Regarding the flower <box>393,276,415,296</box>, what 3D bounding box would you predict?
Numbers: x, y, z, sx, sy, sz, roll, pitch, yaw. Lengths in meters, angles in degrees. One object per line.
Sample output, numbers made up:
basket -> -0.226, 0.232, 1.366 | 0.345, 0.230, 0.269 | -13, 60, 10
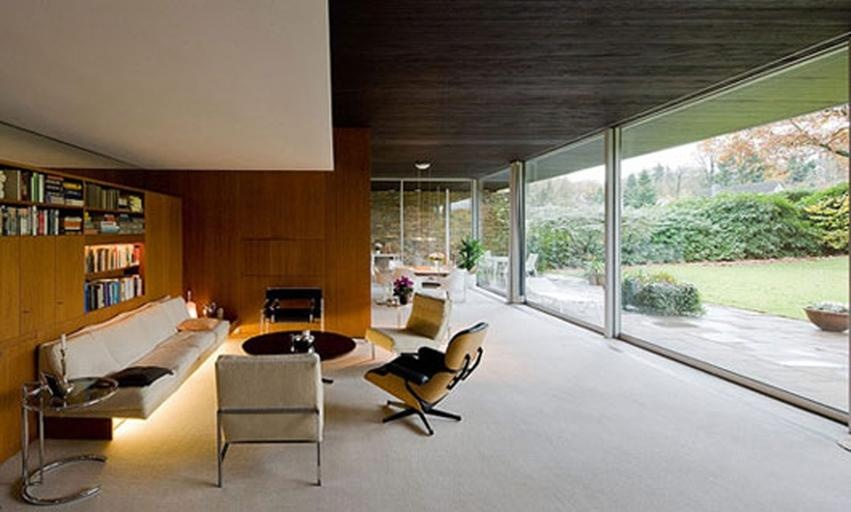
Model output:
flower -> -0.379, 0.532, 8.802 | 0.356, 0.310, 0.351 | 7, -5, -40

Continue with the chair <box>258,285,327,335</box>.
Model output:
chair -> -2.206, 0.872, 8.460 | 1.013, 0.633, 0.660 | -2, 14, -7

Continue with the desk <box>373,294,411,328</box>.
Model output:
desk -> -0.671, 1.094, 10.106 | 0.742, 0.408, 0.696 | 1, 2, -6

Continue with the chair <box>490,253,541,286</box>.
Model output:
chair -> 2.151, 0.345, 12.662 | 0.913, 0.820, 0.646 | -2, 4, -31

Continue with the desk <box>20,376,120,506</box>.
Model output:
desk -> -3.936, 1.887, 5.349 | 1.254, 1.259, 0.713 | -1, 4, 19

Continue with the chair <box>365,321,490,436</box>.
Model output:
chair -> -0.028, 1.466, 6.397 | 1.488, 1.209, 1.132 | 5, 4, 33

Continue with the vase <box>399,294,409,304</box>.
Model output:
vase -> -0.362, 0.748, 8.619 | 0.167, 0.118, 0.158 | 1, -3, 1

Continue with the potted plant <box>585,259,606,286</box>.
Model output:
potted plant -> 3.131, 0.319, 9.114 | 0.409, 0.499, 0.386 | 1, 4, -3

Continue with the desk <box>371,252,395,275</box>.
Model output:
desk -> -1.124, 0.200, 13.258 | 0.683, 0.568, 0.227 | 0, 6, 10

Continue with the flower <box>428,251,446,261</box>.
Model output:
flower -> 0.310, -0.035, 12.126 | 0.323, 0.192, 0.303 | -1, -4, -1

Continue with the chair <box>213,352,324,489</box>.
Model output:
chair -> -1.673, 1.829, 5.767 | 1.194, 1.148, 1.416 | -2, -14, 4

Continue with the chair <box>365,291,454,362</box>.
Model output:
chair -> -0.258, 1.116, 7.645 | 1.156, 0.936, 1.118 | -1, 5, -15
